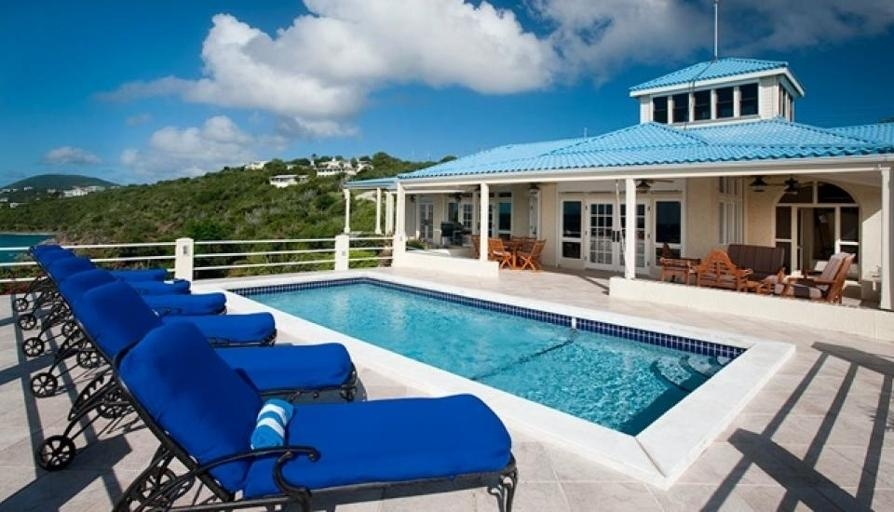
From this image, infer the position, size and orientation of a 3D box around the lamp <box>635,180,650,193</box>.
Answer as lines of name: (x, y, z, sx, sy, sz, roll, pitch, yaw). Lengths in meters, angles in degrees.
lamp: (7.029, -2.474, 19.240, 0.477, 0.417, 1.002, 1, 7, 21)

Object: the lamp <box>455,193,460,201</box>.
lamp: (0.538, -2.753, 25.646, 0.291, 0.293, 0.171, -2, 7, -1)
